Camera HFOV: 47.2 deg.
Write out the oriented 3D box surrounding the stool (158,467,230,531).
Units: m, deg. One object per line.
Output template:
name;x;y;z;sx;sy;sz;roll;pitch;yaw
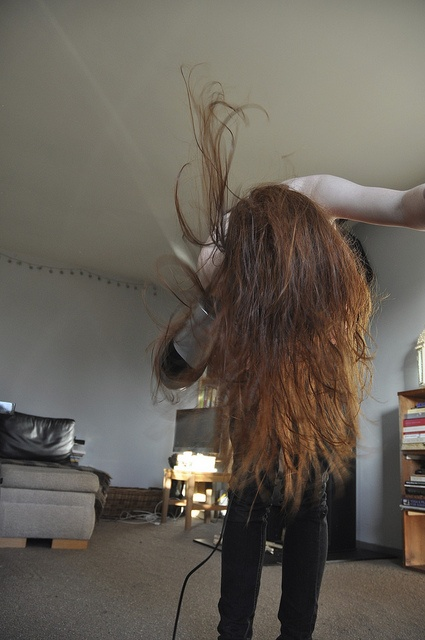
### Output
stool;-0.115;1.060;2.876;0.334;0.250;0.340;11;-19;-10
